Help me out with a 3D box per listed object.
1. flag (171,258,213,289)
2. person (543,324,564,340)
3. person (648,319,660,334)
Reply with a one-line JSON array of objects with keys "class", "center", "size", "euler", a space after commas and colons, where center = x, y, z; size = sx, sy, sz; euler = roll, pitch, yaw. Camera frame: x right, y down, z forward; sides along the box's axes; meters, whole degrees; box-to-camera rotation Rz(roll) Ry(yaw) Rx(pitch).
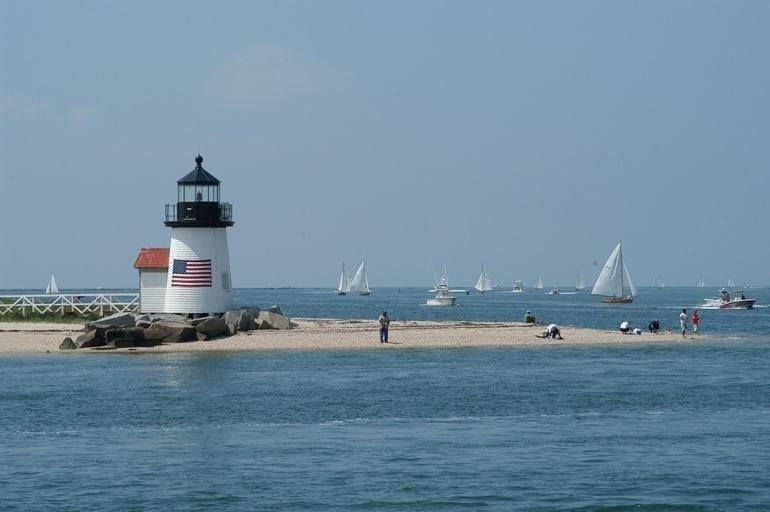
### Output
[{"class": "flag", "center": [-12.052, 1.101, 89.884], "size": [2.248, 1.370, 0.097], "euler": [0, -6, 2]}, {"class": "person", "center": [11.025, 5.043, 95.050], "size": [1.025, 1.099, 3.209], "euler": [0, -3, 4]}, {"class": "person", "center": [18.373, 4.836, 98.539], "size": [0.532, 0.981, 2.266], "euler": [-1, -6, 16]}]
